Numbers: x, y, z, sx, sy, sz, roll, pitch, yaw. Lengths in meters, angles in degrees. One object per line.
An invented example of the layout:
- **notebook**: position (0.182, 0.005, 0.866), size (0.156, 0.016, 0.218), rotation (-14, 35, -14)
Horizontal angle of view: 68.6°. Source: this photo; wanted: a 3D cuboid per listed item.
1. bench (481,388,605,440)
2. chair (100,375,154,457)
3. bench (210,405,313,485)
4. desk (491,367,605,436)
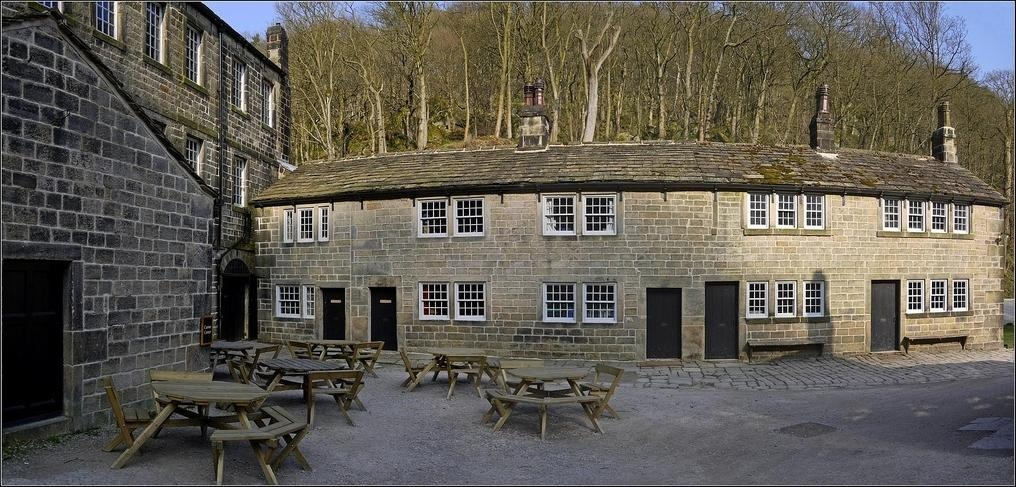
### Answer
- **bench**: position (1.248, 6.069, 27.240), size (4.112, 1.393, 1.877), rotation (1, 11, -2)
- **chair**: position (-12.856, 5.745, 25.375), size (1.210, 2.620, 1.122), rotation (8, 14, 26)
- **bench**: position (-8.399, 6.721, 25.043), size (3.055, 1.175, 2.593), rotation (6, 3, 21)
- **desk**: position (1.164, 5.675, 27.774), size (2.635, 1.425, 3.414), rotation (3, -9, -28)
